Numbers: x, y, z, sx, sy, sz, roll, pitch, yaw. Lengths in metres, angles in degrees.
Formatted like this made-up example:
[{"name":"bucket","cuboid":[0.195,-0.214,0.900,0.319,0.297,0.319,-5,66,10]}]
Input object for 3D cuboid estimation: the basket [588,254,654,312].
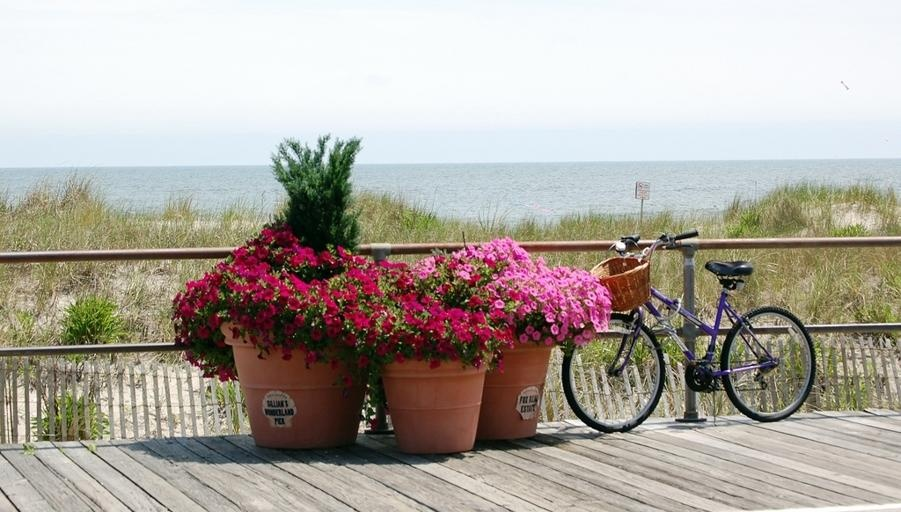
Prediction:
[{"name":"basket","cuboid":[1.739,0.210,7.523,0.559,0.411,0.540,-8,0,-36]}]
